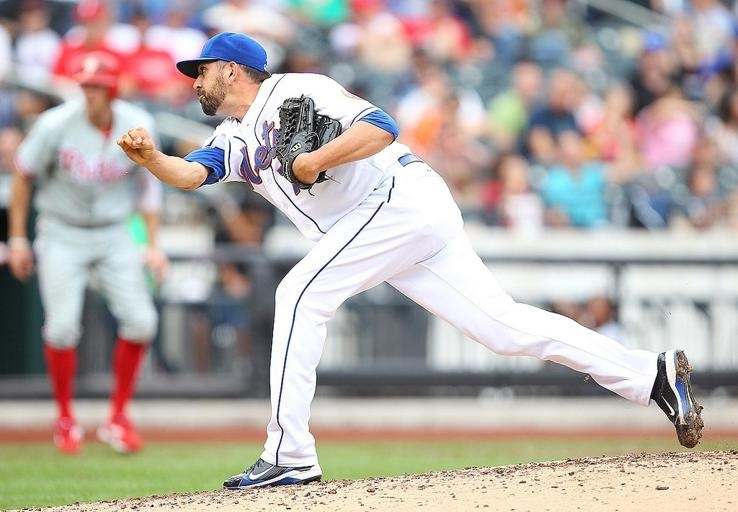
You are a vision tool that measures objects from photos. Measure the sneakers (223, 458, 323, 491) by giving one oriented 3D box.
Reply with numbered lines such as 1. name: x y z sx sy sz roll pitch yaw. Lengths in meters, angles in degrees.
1. sneakers: -0.654 1.494 9.126 0.699 0.224 0.234 2 -7 -1

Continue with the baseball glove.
1. baseball glove: -0.403 -0.758 8.953 0.461 0.582 0.310 -35 -29 32

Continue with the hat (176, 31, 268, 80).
1. hat: -0.992 -1.372 9.202 0.514 0.224 0.309 6 1 2

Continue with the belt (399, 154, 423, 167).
1. belt: 0.284 -0.658 9.182 0.117 0.028 0.106 -13 47 -25
